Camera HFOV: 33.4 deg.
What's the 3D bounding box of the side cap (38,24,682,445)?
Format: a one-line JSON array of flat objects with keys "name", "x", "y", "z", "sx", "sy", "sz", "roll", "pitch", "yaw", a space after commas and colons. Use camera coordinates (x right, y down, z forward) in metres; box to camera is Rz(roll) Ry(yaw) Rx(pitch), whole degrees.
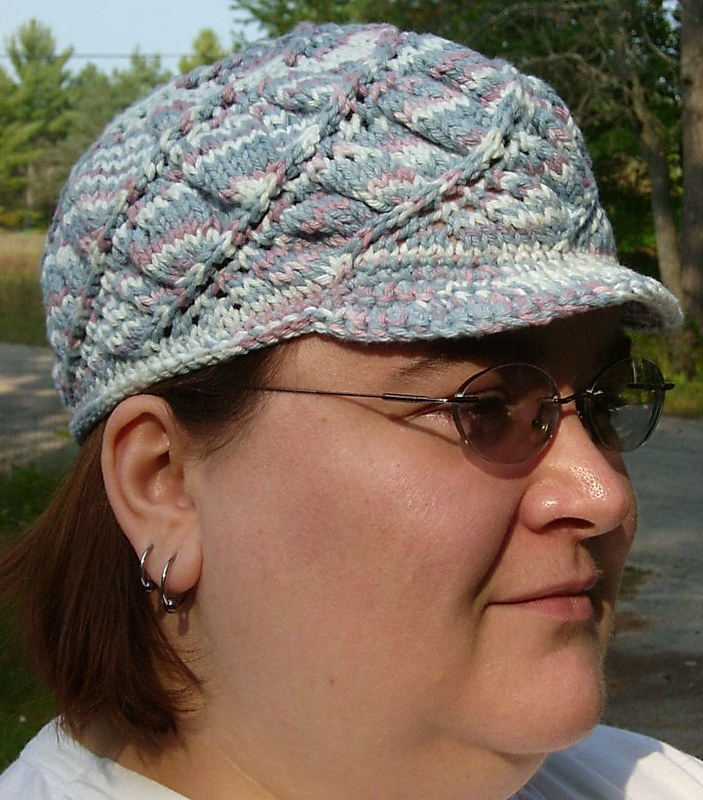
[{"name": "side cap", "x": -0.012, "y": -0.378, "z": 2.308, "sx": 1.111, "sy": 0.472, "sz": 0.751, "roll": -4, "pitch": -4, "yaw": 30}]
